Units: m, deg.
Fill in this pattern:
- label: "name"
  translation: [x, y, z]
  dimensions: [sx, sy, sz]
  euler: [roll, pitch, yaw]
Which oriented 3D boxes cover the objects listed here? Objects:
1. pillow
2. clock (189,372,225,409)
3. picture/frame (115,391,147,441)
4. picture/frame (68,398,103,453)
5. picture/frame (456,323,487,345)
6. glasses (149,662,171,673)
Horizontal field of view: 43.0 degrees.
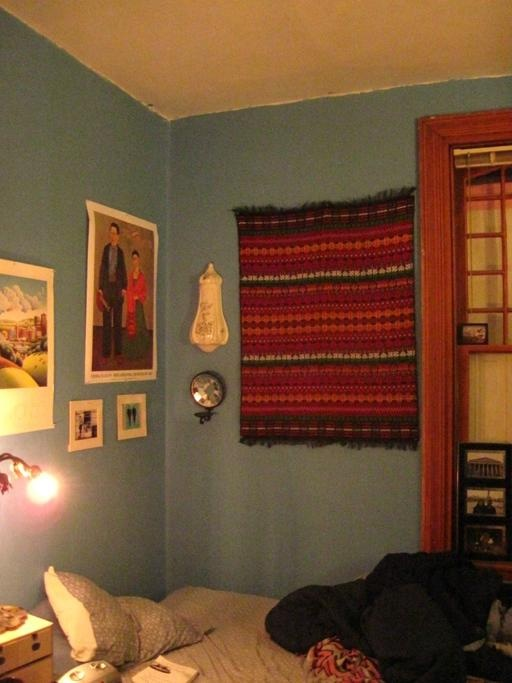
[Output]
- label: "pillow"
  translation: [-0.542, 1.133, 2.663]
  dimensions: [0.525, 0.187, 0.364]
  euler: [19, 1, -40]
- label: "clock"
  translation: [-0.272, 0.276, 3.653]
  dimensions: [0.203, 0.230, 0.074]
  euler: [0, -4, 21]
- label: "picture/frame"
  translation: [-0.681, 0.395, 3.450]
  dimensions: [0.018, 0.272, 0.284]
  euler: [0, -1, 26]
- label: "picture/frame"
  translation: [-0.830, 0.397, 3.094]
  dimensions: [0.018, 0.266, 0.266]
  euler: [-3, -6, 23]
- label: "picture/frame"
  translation: [1.073, -0.033, 3.226]
  dimensions: [0.169, 0.155, 0.093]
  euler: [0, -2, 19]
- label: "glasses"
  translation: [-0.376, 1.266, 2.529]
  dimensions: [0.049, 0.011, 0.028]
  euler: [13, 9, 5]
